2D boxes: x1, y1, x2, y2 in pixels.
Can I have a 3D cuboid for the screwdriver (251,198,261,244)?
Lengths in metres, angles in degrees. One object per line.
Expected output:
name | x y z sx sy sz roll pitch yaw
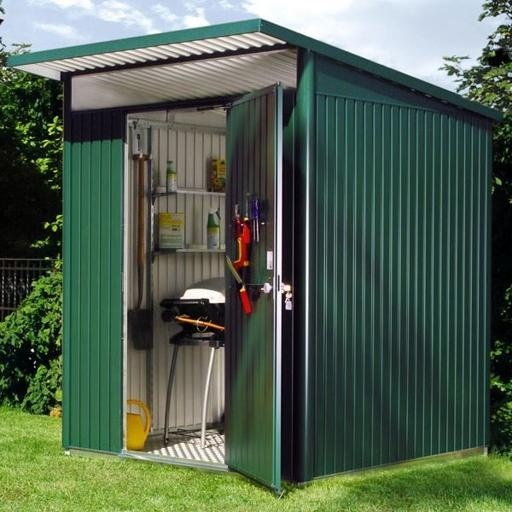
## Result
screwdriver | -0.009 -0.247 5.519 0.034 0.310 0.097 -5 9 -37

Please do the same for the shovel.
shovel | -0.950 -0.019 6.740 0.189 1.597 0.382 0 7 -5
